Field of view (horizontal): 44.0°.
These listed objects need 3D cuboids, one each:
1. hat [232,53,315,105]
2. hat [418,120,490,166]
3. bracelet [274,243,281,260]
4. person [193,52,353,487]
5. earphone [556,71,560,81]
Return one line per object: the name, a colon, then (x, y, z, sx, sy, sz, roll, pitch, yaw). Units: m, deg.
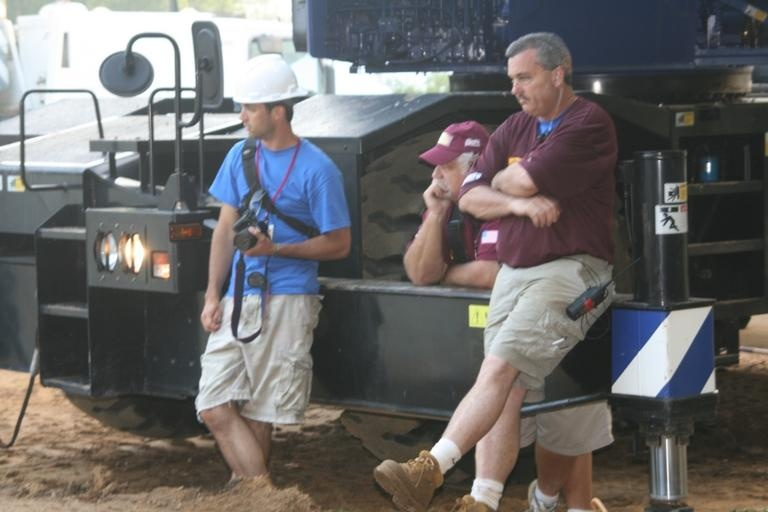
hat: (-0.638, -1.035, 5.385, 0.430, 0.228, 0.359, -14, 30, -25)
hat: (0.400, -0.659, 5.414, 0.354, 0.195, 0.223, -5, 13, -15)
bracelet: (-0.577, -0.037, 5.138, 0.044, 0.067, 0.034, -3, 8, -21)
person: (-0.614, 0.080, 5.307, 0.868, 2.343, 0.461, -1, 7, -4)
earphone: (0.907, -0.942, 4.920, 0.024, 0.035, 0.009, -2, 4, -8)
